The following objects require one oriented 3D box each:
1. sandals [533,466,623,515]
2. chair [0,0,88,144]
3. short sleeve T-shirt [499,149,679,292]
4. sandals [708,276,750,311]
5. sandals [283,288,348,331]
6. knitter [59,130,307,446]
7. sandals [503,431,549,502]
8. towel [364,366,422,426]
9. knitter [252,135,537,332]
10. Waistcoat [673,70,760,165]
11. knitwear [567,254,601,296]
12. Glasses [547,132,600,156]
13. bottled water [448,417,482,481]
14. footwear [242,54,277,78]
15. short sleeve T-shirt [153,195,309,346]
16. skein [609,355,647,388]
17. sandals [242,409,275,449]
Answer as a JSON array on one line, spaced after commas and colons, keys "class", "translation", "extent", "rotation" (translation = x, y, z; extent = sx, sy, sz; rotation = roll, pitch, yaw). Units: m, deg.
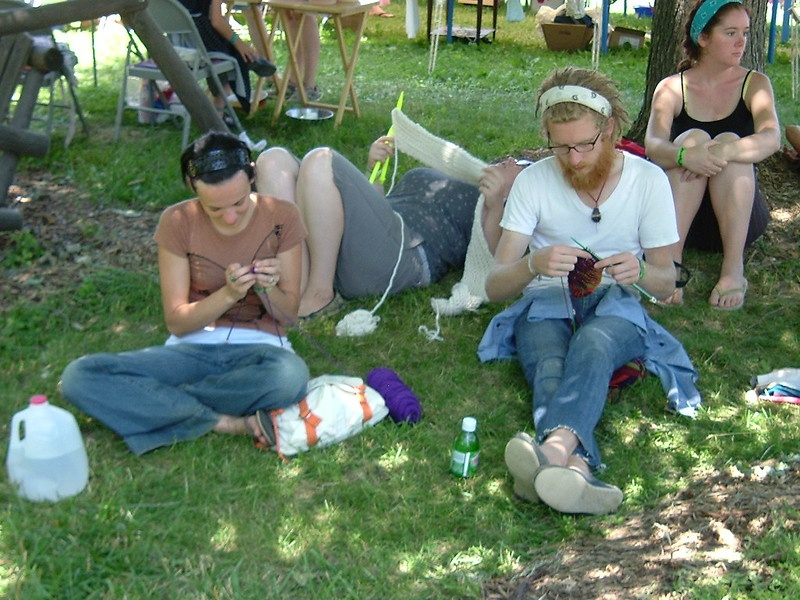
[{"class": "sandals", "translation": [0.667, 0.704, 2.563], "extent": [0.356, 0.167, 0.144], "rotation": [9, 20, -1]}, {"class": "chair", "translation": [-3.226, -1.964, 6.096], "extent": [0.476, 0.973, 2.956], "rotation": [-10, 23, -25]}, {"class": "short sleeve T-shirt", "translation": [0.907, -0.386, 3.122], "extent": [0.818, 0.576, 0.648], "rotation": [3, 39, 15]}, {"class": "sandals", "translation": [1.914, -0.023, 3.776], "extent": [0.225, 0.132, 0.164], "rotation": [3, 20, 8]}, {"class": "sandals", "translation": [-0.479, 0.045, 3.724], "extent": [0.350, 0.102, 0.135], "rotation": [-31, 11, -25]}, {"class": "knitter", "translation": [-0.818, -0.044, 2.939], "extent": [0.935, 1.310, 0.947], "rotation": [12, 22, 13]}, {"class": "sandals", "translation": [0.496, 0.643, 2.551], "extent": [0.114, 0.324, 0.126], "rotation": [6, 34, 29]}, {"class": "towel", "translation": [-0.038, 0.436, 3.106], "extent": [0.117, 0.163, 0.294], "rotation": [21, 23, -38]}, {"class": "knitter", "translation": [-0.163, -0.494, 4.045], "extent": [2.323, 0.978, 1.270], "rotation": [1, 20, -33]}, {"class": "Waistcoat", "translation": [1.983, -1.152, 4.039], "extent": [0.402, 0.532, 0.280], "rotation": [-5, 29, 37]}, {"class": "knitwear", "translation": [0.855, -0.120, 2.981], "extent": [0.118, 0.155, 0.060], "rotation": [29, 59, 10]}, {"class": "Glasses", "translation": [0.781, -0.695, 2.935], "extent": [0.227, 0.108, 0.110], "rotation": [9, 22, 22]}, {"class": "bottled water", "translation": [0.283, 0.622, 2.785], "extent": [0.103, 0.253, 0.106], "rotation": [3, 19, -3]}, {"class": "footwear", "translation": [-1.301, -2.164, 6.118], "extent": [0.244, 0.137, 0.100], "rotation": [27, 24, -50]}, {"class": "short sleeve T-shirt", "translation": [-0.776, -0.133, 3.033], "extent": [0.670, 0.666, 0.358], "rotation": [-4, 28, -12]}, {"class": "skein", "translation": [1.091, 0.362, 3.143], "extent": [0.171, 0.090, 0.126], "rotation": [-36, -5, -4]}, {"class": "sandals", "translation": [-0.612, 0.574, 2.886], "extent": [0.037, 0.153, 0.158], "rotation": [-21, -9, -16]}]
